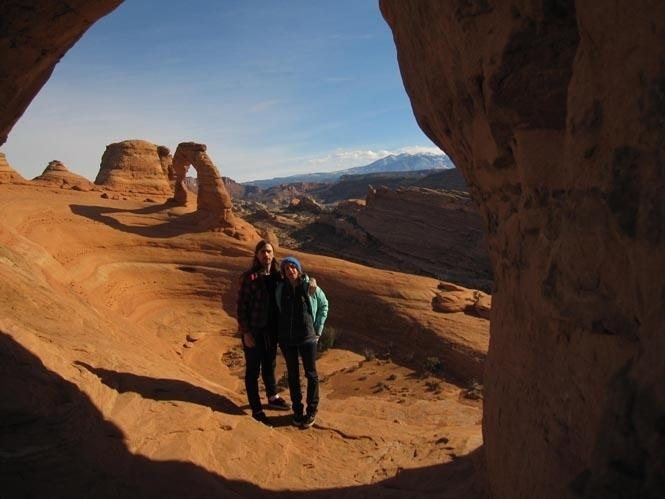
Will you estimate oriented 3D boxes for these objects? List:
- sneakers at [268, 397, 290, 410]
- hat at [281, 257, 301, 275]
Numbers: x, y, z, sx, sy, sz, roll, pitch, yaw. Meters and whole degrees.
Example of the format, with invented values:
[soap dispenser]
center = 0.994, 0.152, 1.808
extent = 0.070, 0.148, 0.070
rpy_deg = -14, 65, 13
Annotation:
[sneakers]
center = -0.608, 1.745, 6.381
extent = 0.323, 0.114, 0.108
rpy_deg = 1, -3, 0
[hat]
center = -0.425, 0.169, 5.859
extent = 0.177, 0.147, 0.212
rpy_deg = 1, 7, -14
